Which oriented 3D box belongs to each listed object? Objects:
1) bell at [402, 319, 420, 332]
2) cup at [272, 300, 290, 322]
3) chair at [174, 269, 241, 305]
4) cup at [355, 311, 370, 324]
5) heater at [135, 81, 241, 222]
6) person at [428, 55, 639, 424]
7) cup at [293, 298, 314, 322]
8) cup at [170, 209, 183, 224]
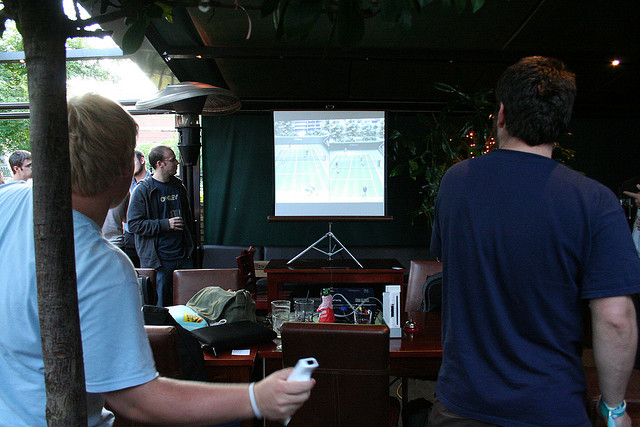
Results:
[{"bbox_3d":[0.502,0.618,2.917,0.093,0.058,0.079,-2,-1,5],"label":"bell"},{"bbox_3d":[-0.204,0.555,2.990,0.106,0.111,0.103,0,-3,0],"label":"cup"},{"bbox_3d":[-0.771,0.515,3.619,0.420,0.269,0.225,5,-10,-36],"label":"chair"},{"bbox_3d":[0.238,0.581,2.957,0.065,0.062,0.062,0,-7,0],"label":"cup"},{"bbox_3d":[-1.011,-0.396,4.167,0.840,1.229,0.821,-3,2,-43],"label":"heater"},{"bbox_3d":[0.785,0.120,2.048,0.760,1.383,0.244,-2,-1,9],"label":"person"},{"bbox_3d":[-0.095,0.549,3.013,0.108,0.113,0.107,0,3,0],"label":"cup"},{"bbox_3d":[-1.159,0.025,4.293,0.065,0.062,0.115,15,14,-23],"label":"cup"}]
